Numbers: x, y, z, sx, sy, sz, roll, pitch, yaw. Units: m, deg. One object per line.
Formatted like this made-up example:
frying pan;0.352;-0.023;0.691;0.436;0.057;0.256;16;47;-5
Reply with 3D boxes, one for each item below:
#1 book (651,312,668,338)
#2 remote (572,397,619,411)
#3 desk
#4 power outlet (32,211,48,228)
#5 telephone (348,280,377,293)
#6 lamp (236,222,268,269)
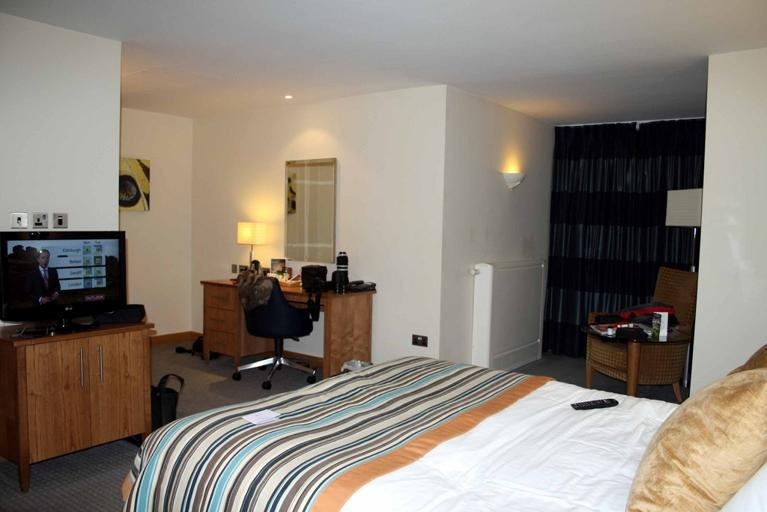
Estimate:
book;2.495;0.635;4.888;0.113;0.238;0.108;1;3;21
remote;1.222;0.859;3.100;0.316;0.065;0.095;-2;2;-18
desk;-1.110;0.823;5.933;1.859;0.986;0.673;3;4;35
power outlet;-2.592;-0.272;4.074;0.122;0.139;0.014;-3;2;-43
telephone;-0.240;0.330;5.618;0.164;0.109;0.339;2;3;42
lamp;-1.543;-0.133;6.425;0.327;0.515;0.316;-1;3;-1
